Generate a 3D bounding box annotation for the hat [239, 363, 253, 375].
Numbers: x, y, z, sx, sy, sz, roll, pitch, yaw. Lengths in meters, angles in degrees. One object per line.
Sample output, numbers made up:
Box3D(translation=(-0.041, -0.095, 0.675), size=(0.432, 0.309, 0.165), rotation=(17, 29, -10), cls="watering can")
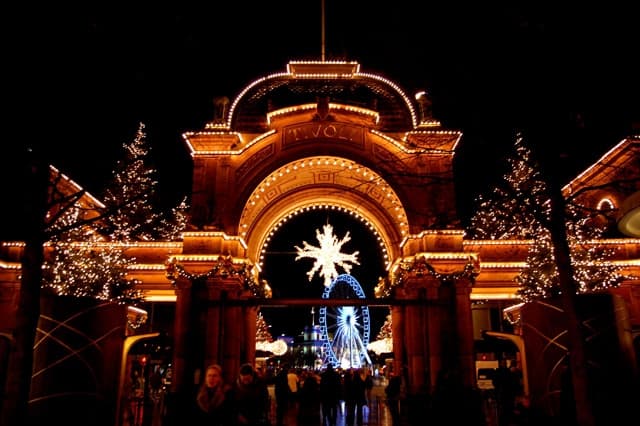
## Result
Box3D(translation=(-2.013, 4.313, 15.687), size=(0.320, 0.369, 0.316), rotation=(0, -16, 6), cls="hat")
